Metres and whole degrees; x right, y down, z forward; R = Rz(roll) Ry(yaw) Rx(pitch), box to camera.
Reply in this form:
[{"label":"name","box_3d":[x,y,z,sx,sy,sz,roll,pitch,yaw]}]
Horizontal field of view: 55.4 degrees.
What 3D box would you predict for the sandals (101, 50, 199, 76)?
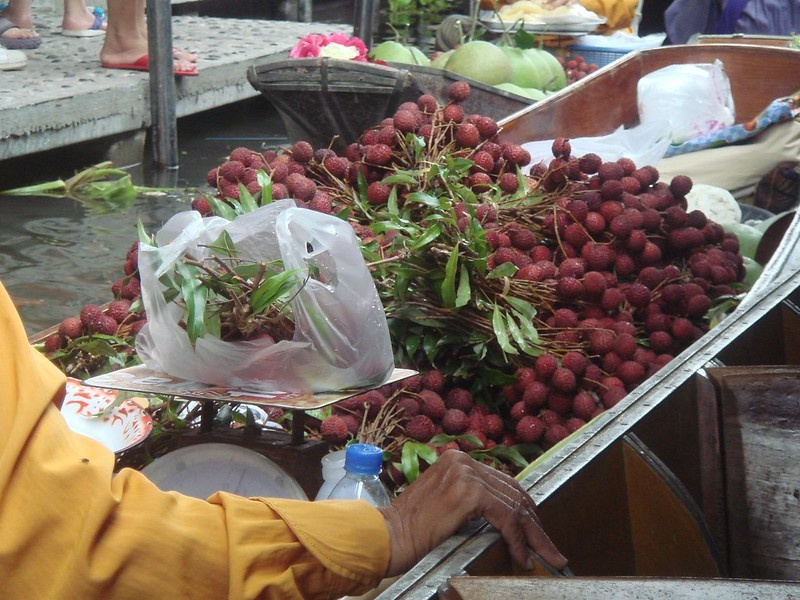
[{"label":"sandals","box_3d":[-1.540,-1.459,4.678,0.589,0.081,0.168,-1,14,-3]}]
